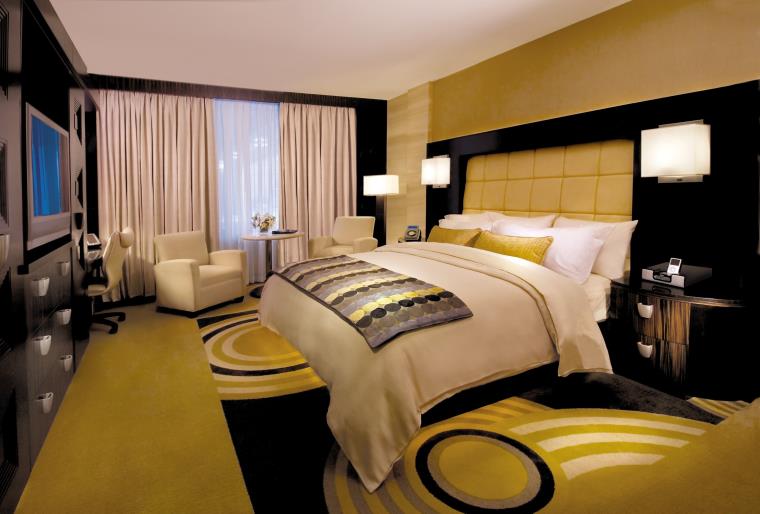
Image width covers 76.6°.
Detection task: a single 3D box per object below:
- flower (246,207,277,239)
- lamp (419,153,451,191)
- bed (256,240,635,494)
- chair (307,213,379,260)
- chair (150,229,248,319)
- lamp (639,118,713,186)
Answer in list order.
[{"bbox_3d":[-1.650,-0.480,6.710,0.406,0.400,0.403,-3,6,-40],"label":"flower"},{"bbox_3d":[0.632,-0.992,6.120,0.308,0.566,0.551,-4,7,-35],"label":"lamp"},{"bbox_3d":[0.482,0.591,3.534,1.744,0.834,1.747,-7,15,-23],"label":"bed"},{"bbox_3d":[-0.468,-0.325,6.714,0.748,0.872,0.654,2,3,35],"label":"chair"},{"bbox_3d":[-2.196,0.157,5.831,0.768,0.874,0.895,5,11,31],"label":"chair"},{"bbox_3d":[2.411,-0.845,3.889,0.314,0.629,0.583,0,1,-43],"label":"lamp"}]
